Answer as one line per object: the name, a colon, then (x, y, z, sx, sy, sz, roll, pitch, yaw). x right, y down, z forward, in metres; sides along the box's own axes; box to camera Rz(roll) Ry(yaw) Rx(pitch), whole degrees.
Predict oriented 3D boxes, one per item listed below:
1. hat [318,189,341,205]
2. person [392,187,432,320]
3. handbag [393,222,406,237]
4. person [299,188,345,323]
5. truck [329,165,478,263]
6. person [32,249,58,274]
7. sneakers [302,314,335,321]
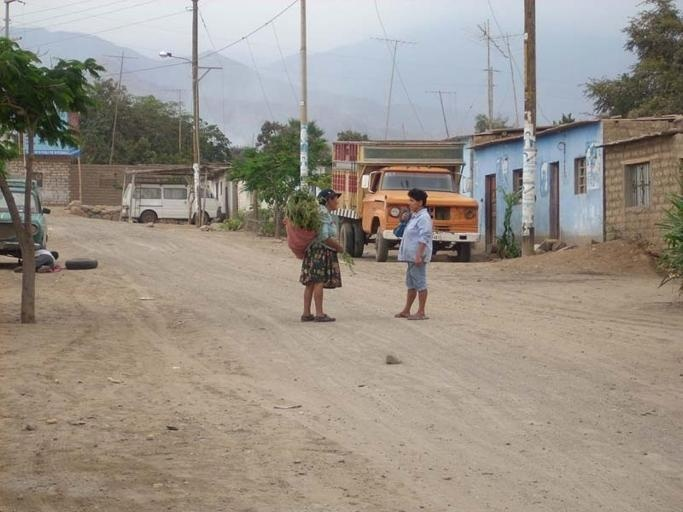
hat: (-0.167, -0.867, 12.498, 0.297, 0.163, 0.187, -26, 20, -8)
person: (1.097, -0.015, 12.914, 0.519, 1.986, 1.010, 0, 8, 4)
handbag: (0.897, -0.376, 13.034, 0.157, 0.219, 0.074, 7, 1, -7)
person: (-0.283, 0.016, 12.564, 0.589, 1.932, 0.628, 0, 8, -2)
truck: (1.621, -1.181, 22.938, 1.980, 2.006, 4.277, 0, 0, -15)
person: (-5.932, 0.099, 17.364, 0.401, 0.429, 1.314, -3, 9, -18)
sneakers: (-0.327, 0.927, 12.616, 0.467, 0.176, 0.173, 1, -1, -2)
